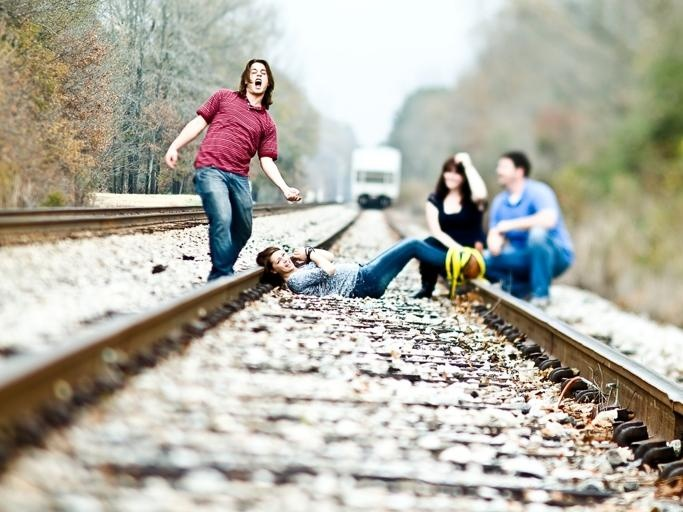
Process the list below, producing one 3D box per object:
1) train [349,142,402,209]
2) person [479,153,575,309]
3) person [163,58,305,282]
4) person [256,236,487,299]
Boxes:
[{"bbox_3d":[1.926,-4.675,33.903,2.697,3.110,1.697,3,9,3],"label":"train"},{"bbox_3d":[2.205,-0.292,6.934,0.971,1.830,0.729,5,9,19],"label":"person"},{"bbox_3d":[-1.085,-0.859,5.793,1.096,2.147,0.707,0,9,-17],"label":"person"},{"bbox_3d":[0.266,0.070,6.189,2.210,0.925,0.908,-2,1,-9],"label":"person"}]
